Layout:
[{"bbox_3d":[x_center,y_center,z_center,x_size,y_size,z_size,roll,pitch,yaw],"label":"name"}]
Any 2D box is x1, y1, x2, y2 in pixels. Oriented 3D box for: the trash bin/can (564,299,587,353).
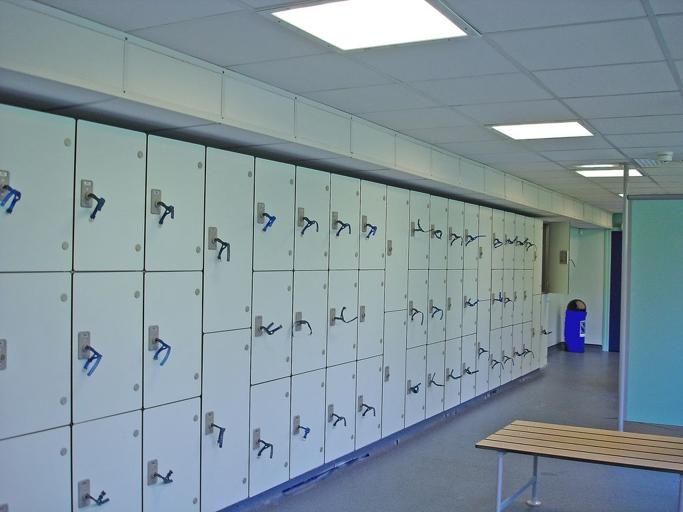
[{"bbox_3d":[5.347,1.600,12.458,0.452,1.171,0.341,-1,-3,21],"label":"trash bin/can"}]
